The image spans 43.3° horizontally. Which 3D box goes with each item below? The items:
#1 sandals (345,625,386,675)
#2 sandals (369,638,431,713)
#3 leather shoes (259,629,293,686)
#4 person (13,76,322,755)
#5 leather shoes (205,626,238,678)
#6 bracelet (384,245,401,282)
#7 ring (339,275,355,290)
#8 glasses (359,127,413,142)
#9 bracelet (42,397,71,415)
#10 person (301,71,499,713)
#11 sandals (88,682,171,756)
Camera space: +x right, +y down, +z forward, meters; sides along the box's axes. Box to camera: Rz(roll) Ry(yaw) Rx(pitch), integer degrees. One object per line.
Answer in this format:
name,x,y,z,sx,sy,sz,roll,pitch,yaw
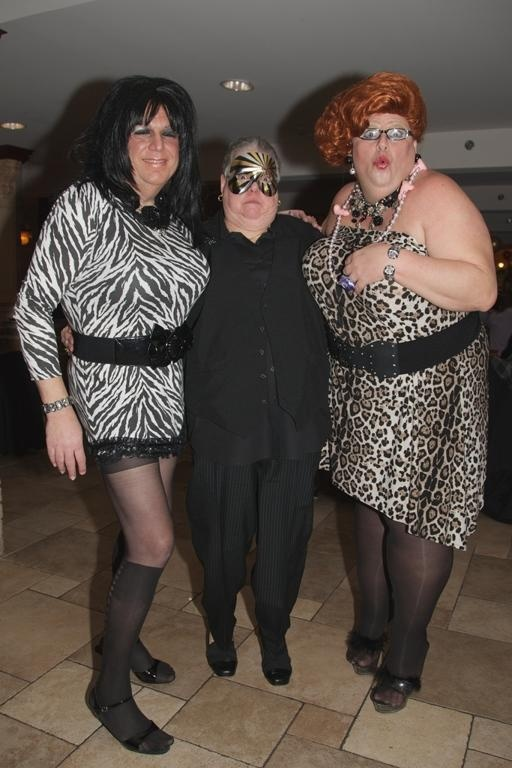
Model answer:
sandals,0.343,0.854,2.078,0.077,0.116,0.049,-2,-4,17
sandals,0.437,0.887,1.959,0.097,0.090,0.277,0,-2,28
leather shoes,0.058,0.839,1.985,0.068,0.071,0.193,-2,2,-4
person,-0.343,0.081,1.631,0.500,1.702,0.271,-1,7,-22
leather shoes,-0.101,0.850,2.010,0.063,0.064,0.173,0,-4,-5
bracelet,0.327,-0.294,1.556,0.031,0.080,0.033,5,7,28
ring,0.231,-0.260,1.641,0.046,0.025,0.025,34,5,32
glasses,0.346,-0.666,1.735,0.135,0.043,0.064,2,6,8
bracelet,-0.472,0.052,1.518,0.062,0.031,0.059,-6,5,13
person,0.365,0.051,1.789,0.521,1.760,0.432,4,7,20
sandals,-0.349,0.843,1.714,0.285,0.102,0.100,21,26,25
